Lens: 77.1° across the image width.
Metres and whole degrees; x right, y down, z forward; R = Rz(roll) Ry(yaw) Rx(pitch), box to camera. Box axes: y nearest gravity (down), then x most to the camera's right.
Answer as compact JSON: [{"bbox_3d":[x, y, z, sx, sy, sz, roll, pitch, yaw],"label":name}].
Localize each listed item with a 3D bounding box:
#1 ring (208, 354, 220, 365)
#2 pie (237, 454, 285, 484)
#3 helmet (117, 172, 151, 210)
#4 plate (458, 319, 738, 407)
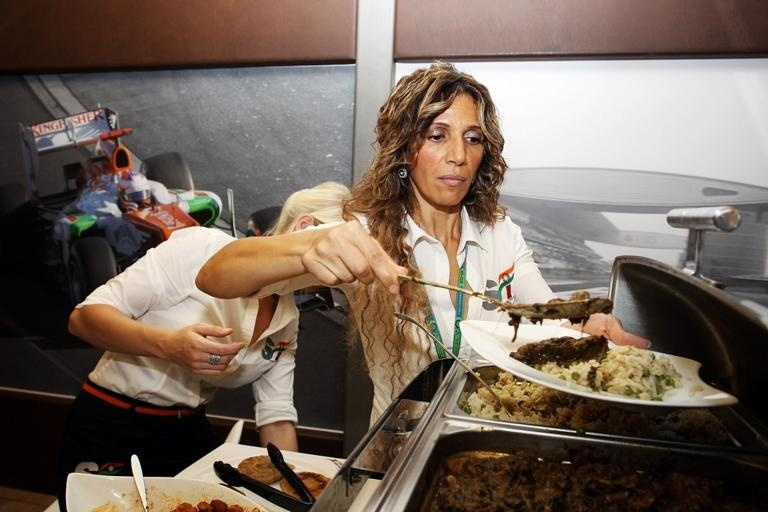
[{"bbox_3d":[-0.855,0.518,2.428,0.060,0.055,0.022,11,19,0],"label":"ring"},{"bbox_3d":[-0.487,0.828,1.876,0.107,0.026,0.101,1,11,-6],"label":"pie"},{"bbox_3d":[-1.789,-0.469,3.474,0.275,0.264,0.213,16,21,41],"label":"helmet"},{"bbox_3d":[0.779,0.390,1.847,0.955,0.196,0.490,6,24,21],"label":"plate"}]
